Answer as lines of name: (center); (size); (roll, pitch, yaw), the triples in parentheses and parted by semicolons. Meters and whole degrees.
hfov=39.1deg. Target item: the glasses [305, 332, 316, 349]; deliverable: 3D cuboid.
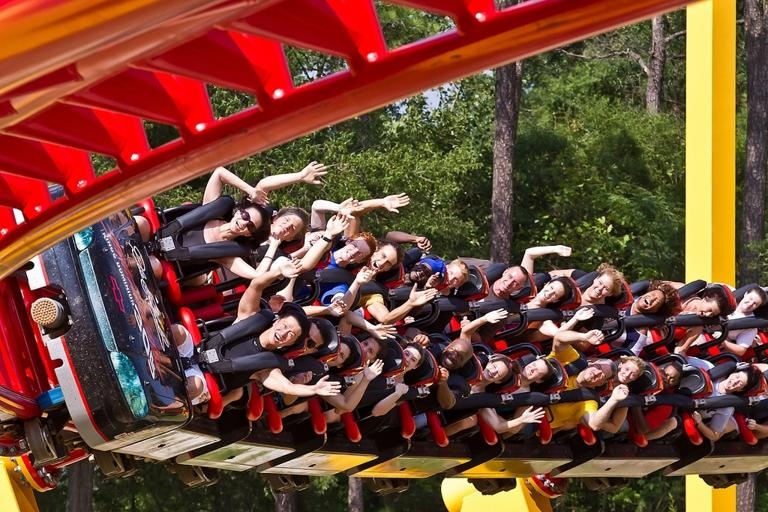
glasses: (-0.550, 0.648, 8.169); (0.107, 0.116, 0.029); (-23, 19, -31)

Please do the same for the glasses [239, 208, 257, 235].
glasses: (-1.031, -0.258, 8.125); (0.076, 0.188, 0.083); (-22, 18, -25)
